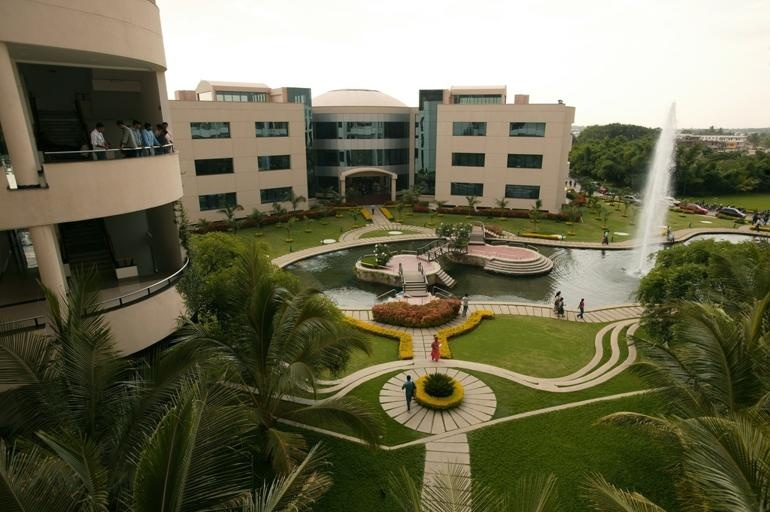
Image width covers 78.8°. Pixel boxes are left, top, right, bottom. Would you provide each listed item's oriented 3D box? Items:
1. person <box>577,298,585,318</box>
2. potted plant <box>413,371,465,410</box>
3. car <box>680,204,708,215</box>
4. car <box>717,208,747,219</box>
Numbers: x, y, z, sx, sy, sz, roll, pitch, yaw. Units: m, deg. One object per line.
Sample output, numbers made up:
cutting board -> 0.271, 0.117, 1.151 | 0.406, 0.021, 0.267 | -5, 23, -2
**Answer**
person -> 13.390, 3.548, 31.751 | 0.435, 0.992, 1.281 | 6, 16, 22
potted plant -> 2.554, 6.329, 21.993 | 2.206, 0.845, 1.921 | 7, 16, 26
car -> 42.652, -6.499, 65.048 | 1.860, 1.126, 3.669 | -8, 18, -17
car -> 46.131, -5.310, 62.444 | 2.009, 1.369, 3.222 | -17, 21, -32
